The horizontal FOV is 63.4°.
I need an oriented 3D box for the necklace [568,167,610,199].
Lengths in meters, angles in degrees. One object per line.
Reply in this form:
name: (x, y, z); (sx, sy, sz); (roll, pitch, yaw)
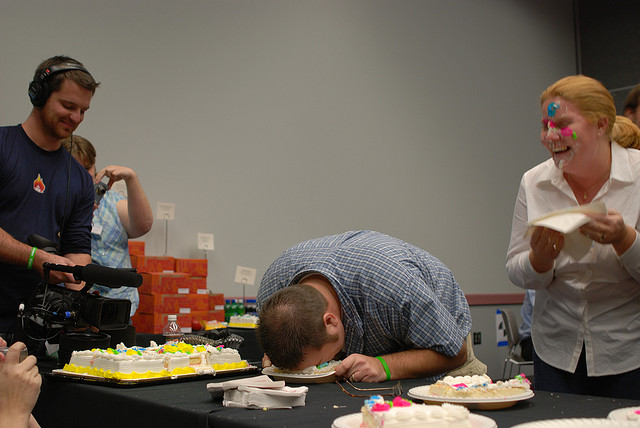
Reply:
necklace: (1.281, -0.152, 2.452); (0.125, 0.129, 0.035); (-3, -17, 21)

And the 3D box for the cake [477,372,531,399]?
cake: (0.704, 0.642, 1.930); (0.121, 0.042, 0.098); (-18, -20, -7)

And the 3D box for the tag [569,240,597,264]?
tag: (1.222, 0.178, 2.400); (0.090, 0.108, 0.038); (-10, 25, -25)

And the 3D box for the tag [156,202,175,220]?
tag: (-1.455, -0.033, 4.862); (0.161, 0.160, 0.038); (6, -3, -33)

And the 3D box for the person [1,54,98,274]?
person: (-1.472, -0.288, 2.814); (0.471, 1.047, 0.506); (5, -14, -24)

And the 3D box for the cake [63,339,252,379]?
cake: (-0.740, 0.660, 2.376); (0.746, 0.164, 0.387); (9, -19, -33)

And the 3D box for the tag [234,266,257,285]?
tag: (-0.745, 0.617, 5.254); (0.252, 0.171, 0.159); (5, -15, -22)

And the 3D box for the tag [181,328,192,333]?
tag: (-1.052, 0.921, 4.125); (0.061, 0.035, 0.128); (-9, -17, 25)

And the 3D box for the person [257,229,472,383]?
person: (0.230, 0.426, 2.337); (0.678, 0.538, 0.780); (2, 18, 39)

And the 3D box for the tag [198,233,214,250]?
tag: (-1.125, 0.267, 5.070); (0.155, 0.153, 0.016); (4, -10, -37)

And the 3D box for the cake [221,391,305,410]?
cake: (-0.209, 0.681, 1.909); (0.294, 0.066, 0.083); (1, -15, -8)
